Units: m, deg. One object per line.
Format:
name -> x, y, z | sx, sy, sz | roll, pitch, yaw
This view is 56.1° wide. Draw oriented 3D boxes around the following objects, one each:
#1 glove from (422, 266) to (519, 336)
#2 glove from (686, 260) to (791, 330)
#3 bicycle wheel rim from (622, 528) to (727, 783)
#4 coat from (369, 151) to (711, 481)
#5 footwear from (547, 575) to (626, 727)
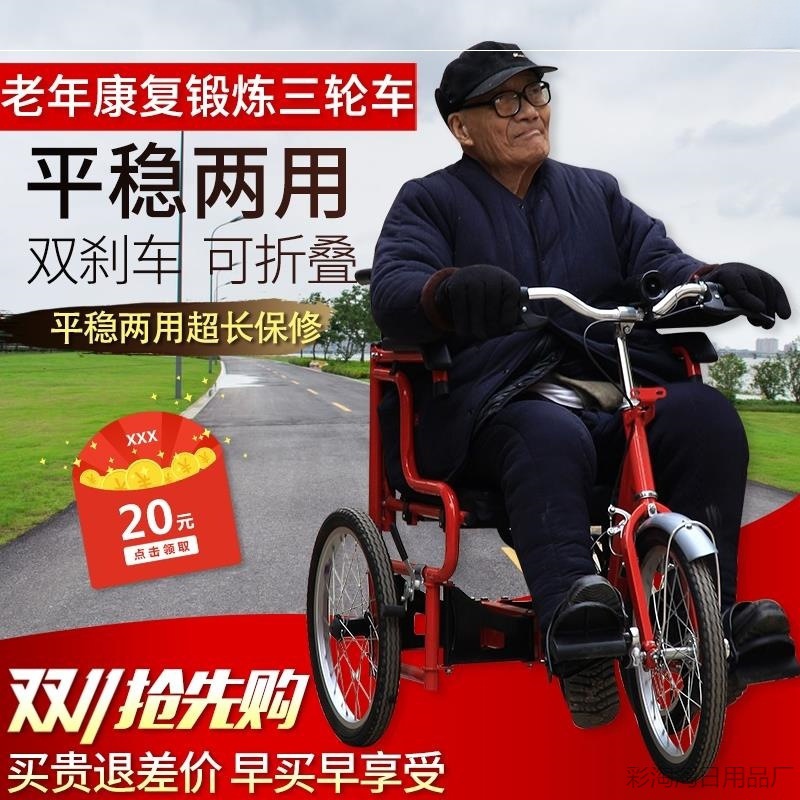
glove -> 0.178, -0.244, 1.896 | 0.212, 0.187, 0.113 | 3, 11, 15
glove -> 0.995, -0.299, 2.137 | 0.304, 0.188, 0.152 | -3, 2, -9
bicycle wheel rim -> 0.699, 0.674, 1.956 | 0.237, 0.736, 0.618 | -2, 2, 16
coat -> 0.399, -0.200, 2.291 | 0.795, 1.064, 0.624 | -7, -14, -33
footwear -> 0.450, 0.623, 1.822 | 0.190, 0.414, 0.208 | -2, 2, 15
